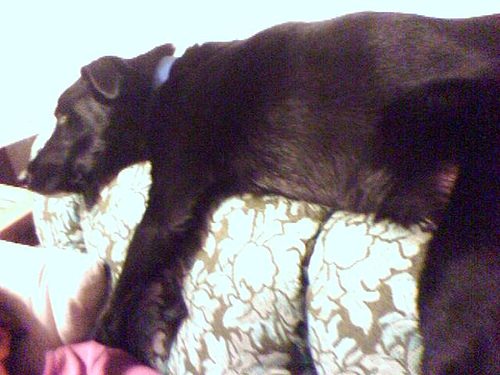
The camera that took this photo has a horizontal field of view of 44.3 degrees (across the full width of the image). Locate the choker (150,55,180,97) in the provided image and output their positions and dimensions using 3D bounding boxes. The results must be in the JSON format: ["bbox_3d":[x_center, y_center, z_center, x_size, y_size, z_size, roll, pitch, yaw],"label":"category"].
[{"bbox_3d":[-0.254,-0.332,1.827,0.026,0.116,0.074,13,-8,-18],"label":"choker"}]
